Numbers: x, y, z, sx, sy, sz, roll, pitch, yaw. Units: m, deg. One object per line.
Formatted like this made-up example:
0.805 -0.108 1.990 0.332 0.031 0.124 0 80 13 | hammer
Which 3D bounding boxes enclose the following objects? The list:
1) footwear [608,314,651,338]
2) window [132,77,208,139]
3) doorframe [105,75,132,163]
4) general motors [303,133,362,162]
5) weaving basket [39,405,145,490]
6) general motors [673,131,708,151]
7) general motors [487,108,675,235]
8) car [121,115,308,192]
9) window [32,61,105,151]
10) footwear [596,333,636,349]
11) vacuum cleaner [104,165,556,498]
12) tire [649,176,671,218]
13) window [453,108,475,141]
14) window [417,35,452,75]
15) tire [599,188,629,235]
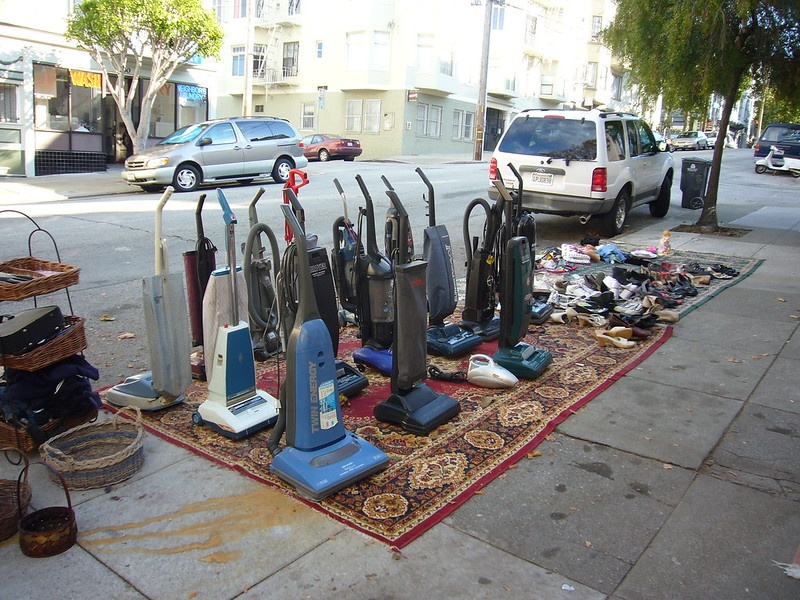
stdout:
2.484 0.270 6.003 0.399 0.148 0.300 8 24 39 | footwear
-9.389 -7.941 23.035 3.196 2.105 0.094 7 9 11 | window
-11.431 -7.590 22.947 0.642 2.833 0.809 -19 19 -36 | doorframe
-3.352 -7.396 26.966 3.435 1.068 1.533 16 27 35 | general motors
-2.019 0.967 3.655 0.548 0.300 0.639 -4 14 -16 | weaving basket
21.764 -11.951 41.433 1.485 1.081 3.296 13 24 37 | general motors
3.489 -2.573 10.878 2.388 1.992 4.585 13 28 37 | general motors
-5.011 -4.138 16.233 4.672 1.684 1.830 -13 8 -33 | car
-11.637 -6.752 19.501 0.095 2.785 2.862 19 21 16 | window
2.190 0.431 5.629 0.310 0.106 0.159 -4 18 14 | footwear
-0.468 -0.035 4.616 2.485 1.829 2.951 11 19 37 | vacuum cleaner
5.857 -2.360 12.504 0.337 0.897 0.923 0 3 17 | tire
4.202 -11.935 37.286 0.425 1.869 2.631 11 18 35 | window
2.144 -14.864 33.425 2.583 2.267 0.924 -12 19 -34 | window
4.123 -1.701 10.628 0.288 0.798 0.833 6 6 31 | tire
